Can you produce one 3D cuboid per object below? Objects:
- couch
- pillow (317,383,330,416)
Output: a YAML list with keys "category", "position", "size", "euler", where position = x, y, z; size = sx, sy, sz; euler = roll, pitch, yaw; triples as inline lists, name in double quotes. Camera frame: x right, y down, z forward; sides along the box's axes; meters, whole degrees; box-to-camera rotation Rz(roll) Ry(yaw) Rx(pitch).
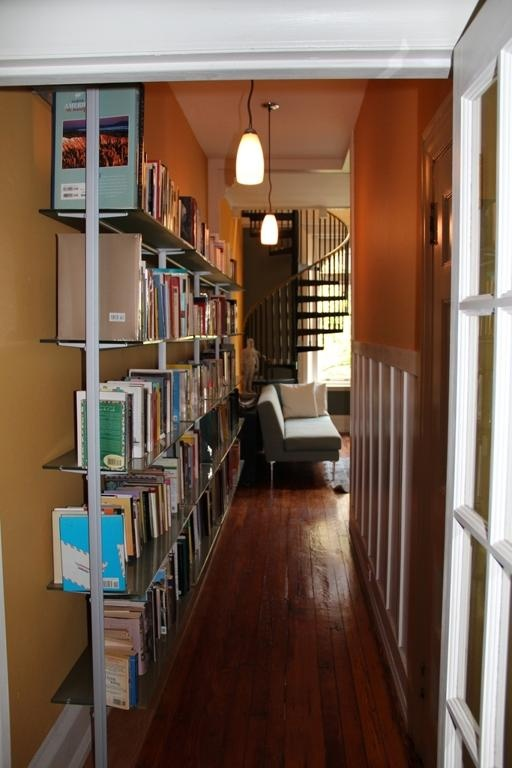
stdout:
- category: "couch"
  position: [0.425, 0.481, 6.255]
  size: [0.777, 0.891, 1.687]
  euler: [0, 4, 2]
- category: "pillow"
  position: [0.818, 0.199, 7.215]
  size: [0.082, 0.417, 0.290]
  euler: [-1, 8, 10]
